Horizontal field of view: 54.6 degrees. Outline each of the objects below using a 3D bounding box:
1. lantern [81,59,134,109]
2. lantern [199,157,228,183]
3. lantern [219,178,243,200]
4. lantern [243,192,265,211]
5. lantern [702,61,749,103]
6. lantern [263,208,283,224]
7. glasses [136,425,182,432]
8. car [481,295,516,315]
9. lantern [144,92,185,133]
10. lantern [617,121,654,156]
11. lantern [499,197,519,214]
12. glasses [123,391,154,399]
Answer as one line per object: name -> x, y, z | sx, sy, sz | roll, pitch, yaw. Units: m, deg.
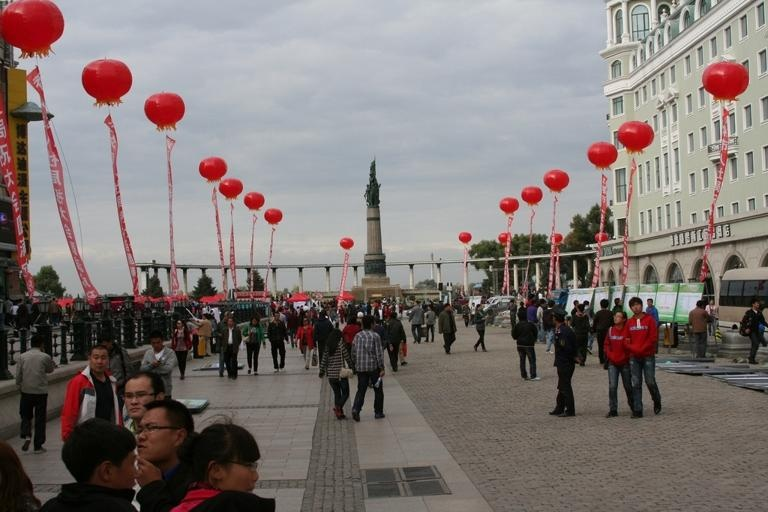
lantern -> -7.026, -4.352, 18.786 | 1.089, 1.080, 0.615 | -3, -3, -2
lantern -> -6.873, -3.404, 29.959 | 0.919, 0.985, 1.029 | -2, -3, -20
lantern -> -7.176, -3.067, 34.685 | 0.913, 0.808, 0.503 | -3, -3, -3
lantern -> -6.698, -2.771, 38.304 | 0.801, 0.759, 0.668 | -1, -3, -33
lantern -> 11.583, -5.973, 25.459 | 1.468, 1.379, 1.454 | -2, 13, 11
lantern -> -6.181, -2.127, 41.581 | 0.783, 0.811, 1.519 | -2, -3, -18
glasses -> -2.430, 1.828, 7.972 | 0.450, 0.091, 0.128 | -4, -3, 12
car -> 9.310, 4.184, 60.336 | 2.655, 1.459, 1.916 | 2, 0, 11
lantern -> -6.510, -4.247, 22.027 | 0.869, 0.988, 0.819 | -5, -3, 40
lantern -> 9.618, -4.561, 28.462 | 1.321, 1.362, 1.311 | -10, 6, -24
lantern -> 7.086, -2.777, 42.285 | 0.798, 0.823, 0.768 | -2, -3, -29
glasses -> -3.078, 1.725, 9.310 | 0.336, 0.084, 0.063 | -3, -3, 7
